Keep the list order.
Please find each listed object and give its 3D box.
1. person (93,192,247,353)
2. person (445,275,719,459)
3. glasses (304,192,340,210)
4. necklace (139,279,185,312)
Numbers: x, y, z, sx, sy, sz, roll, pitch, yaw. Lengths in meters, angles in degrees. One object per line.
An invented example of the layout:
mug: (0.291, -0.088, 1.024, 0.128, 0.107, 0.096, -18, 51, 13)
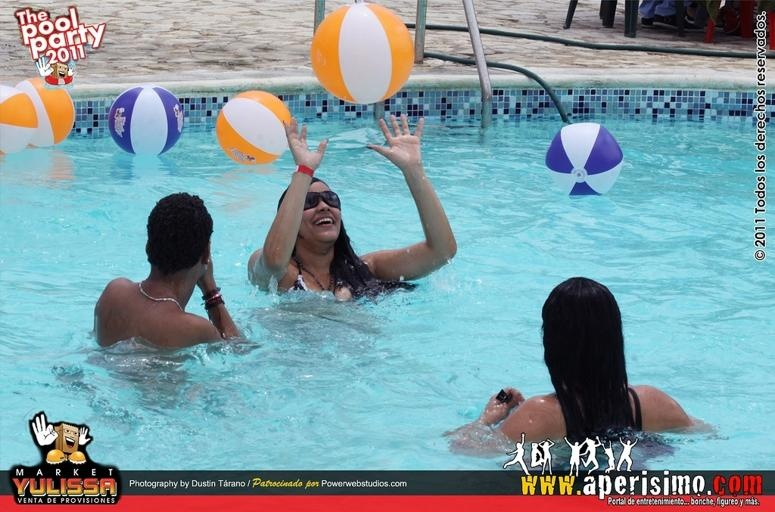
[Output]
person: (-1.152, 0.090, 3.409, 0.715, 0.826, 0.396, -4, 9, -21)
person: (0.802, 0.538, 3.279, 0.938, 0.899, 1.488, 1, -1, -11)
glasses: (-0.443, -0.366, 4.287, 0.261, 0.119, 0.099, -4, 9, -23)
necklace: (-1.160, 0.203, 3.359, 0.180, 0.042, 0.136, 24, 3, -5)
